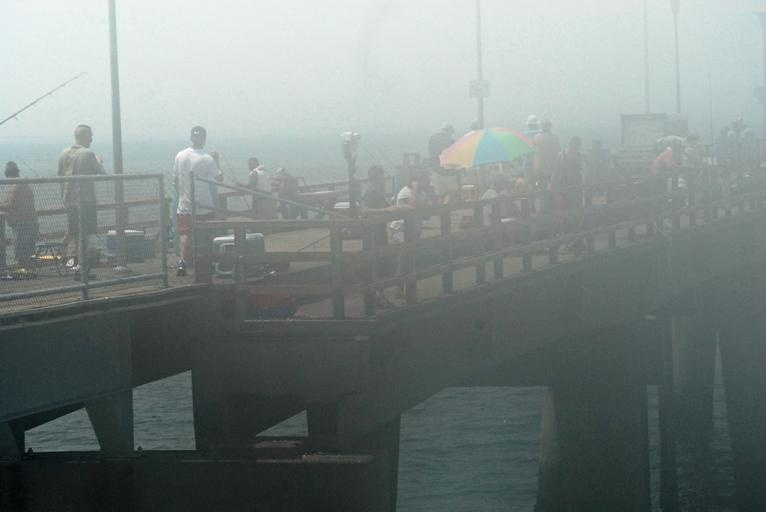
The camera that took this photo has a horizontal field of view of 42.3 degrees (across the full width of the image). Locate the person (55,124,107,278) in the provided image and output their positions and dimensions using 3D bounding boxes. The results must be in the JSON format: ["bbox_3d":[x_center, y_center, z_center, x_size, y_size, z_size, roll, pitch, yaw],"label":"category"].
[{"bbox_3d":[-4.668,-0.900,15.346,0.686,2.376,0.937,2,-5,-18],"label":"person"}]

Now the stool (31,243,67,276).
[{"bbox_3d":[-5.079,0.069,15.066,0.439,0.439,0.318,-3,-6,-36],"label":"stool"}]

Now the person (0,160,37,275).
[{"bbox_3d":[-5.375,-0.447,14.733,0.484,1.256,0.319,2,-6,-23],"label":"person"}]

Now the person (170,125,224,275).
[{"bbox_3d":[-3.061,-0.892,16.432,0.788,2.436,1.485,1,-5,-12],"label":"person"}]

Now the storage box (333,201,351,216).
[{"bbox_3d":[-0.781,-0.915,19.063,0.291,0.114,0.430,1,12,2],"label":"storage box"}]
